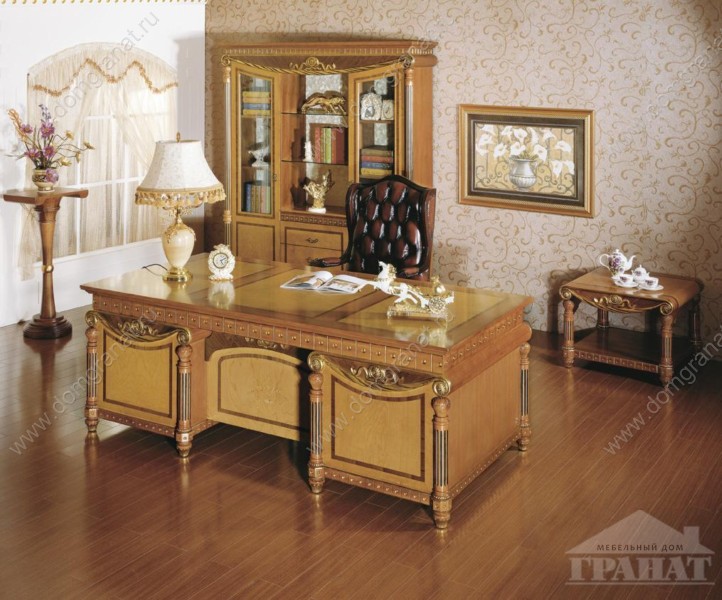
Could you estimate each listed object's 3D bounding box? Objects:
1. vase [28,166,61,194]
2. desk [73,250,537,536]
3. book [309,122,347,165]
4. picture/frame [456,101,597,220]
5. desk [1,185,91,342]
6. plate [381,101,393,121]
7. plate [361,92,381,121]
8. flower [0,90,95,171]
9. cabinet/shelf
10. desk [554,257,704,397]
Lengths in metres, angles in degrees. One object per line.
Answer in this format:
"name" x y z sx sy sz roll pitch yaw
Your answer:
"vase" -2.491 -0.963 5.571 0.295 0.197 0.276 -2 7 -15
"desk" -0.317 0.387 3.731 2.077 0.932 0.851 6 14 27
"book" -0.261 -1.399 6.118 0.215 0.309 0.358 6 14 24
"picture/frame" 1.377 -1.155 5.560 1.097 0.715 0.048 6 11 30
"desk" -2.531 -0.314 5.615 0.520 1.190 0.502 1 13 3
"plate" 0.230 -1.582 5.725 0.126 0.183 0.032 12 18 43
"plate" 0.100 -1.642 5.784 0.252 0.283 0.039 6 10 26
"flower" -2.530 -1.388 5.750 0.697 0.437 0.690 10 14 38
"cabinet/shelf" -0.211 -1.276 5.820 2.316 2.494 0.620 5 12 23
"desk" 1.950 0.155 5.099 1.091 0.745 0.851 8 14 39
